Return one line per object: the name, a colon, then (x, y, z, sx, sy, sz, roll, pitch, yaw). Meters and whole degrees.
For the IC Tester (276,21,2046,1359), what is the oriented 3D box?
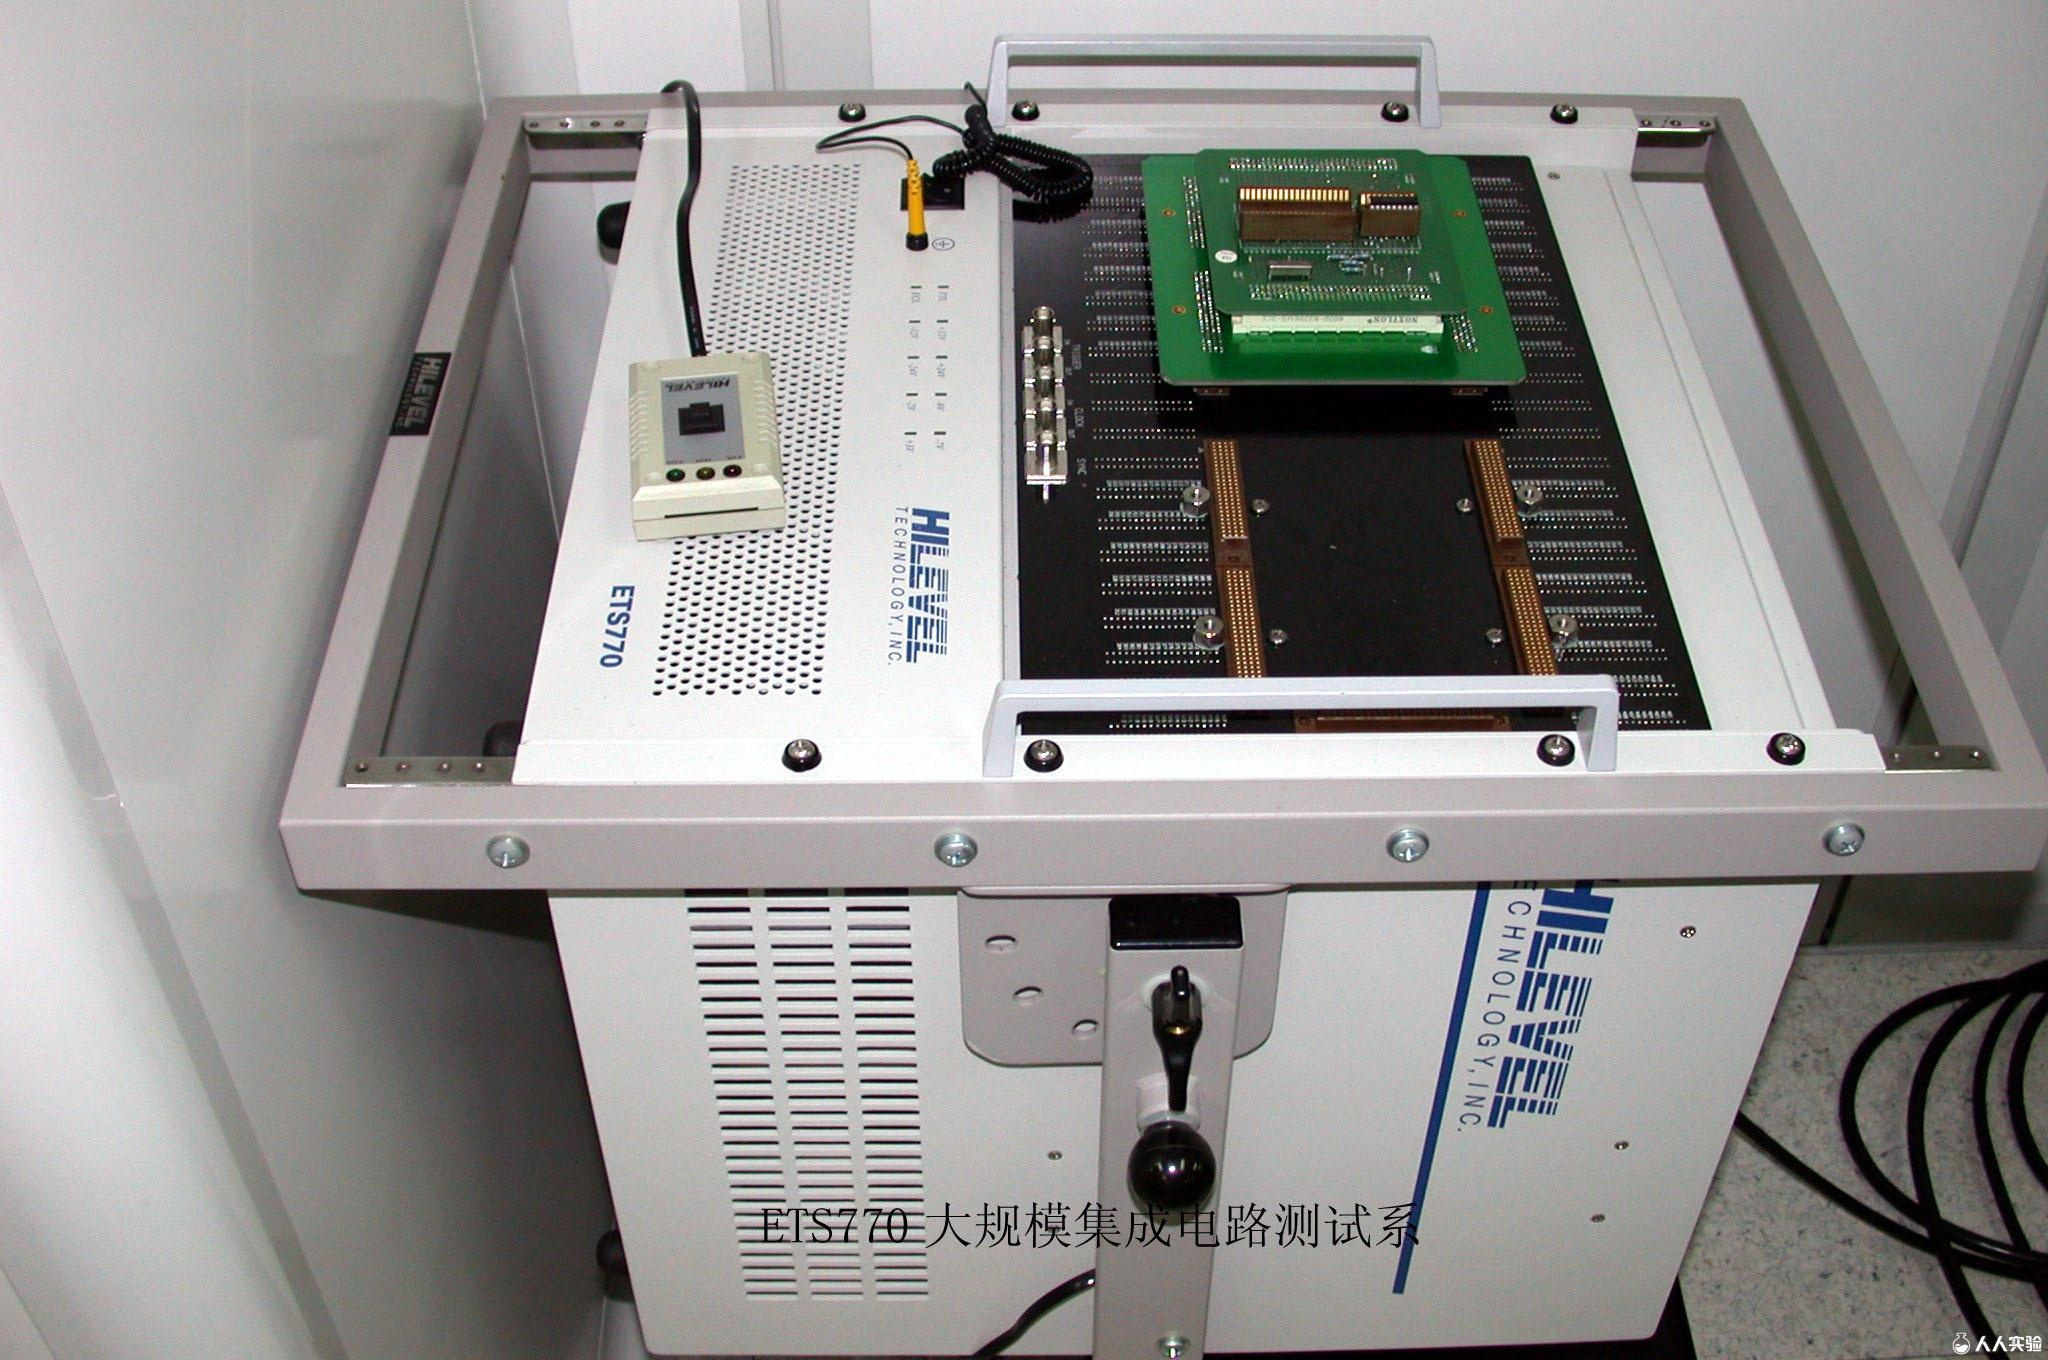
IC Tester: (0.082, 0.250, 2.480, 1.968, 1.372, 1.537, 0, 48, -1)
